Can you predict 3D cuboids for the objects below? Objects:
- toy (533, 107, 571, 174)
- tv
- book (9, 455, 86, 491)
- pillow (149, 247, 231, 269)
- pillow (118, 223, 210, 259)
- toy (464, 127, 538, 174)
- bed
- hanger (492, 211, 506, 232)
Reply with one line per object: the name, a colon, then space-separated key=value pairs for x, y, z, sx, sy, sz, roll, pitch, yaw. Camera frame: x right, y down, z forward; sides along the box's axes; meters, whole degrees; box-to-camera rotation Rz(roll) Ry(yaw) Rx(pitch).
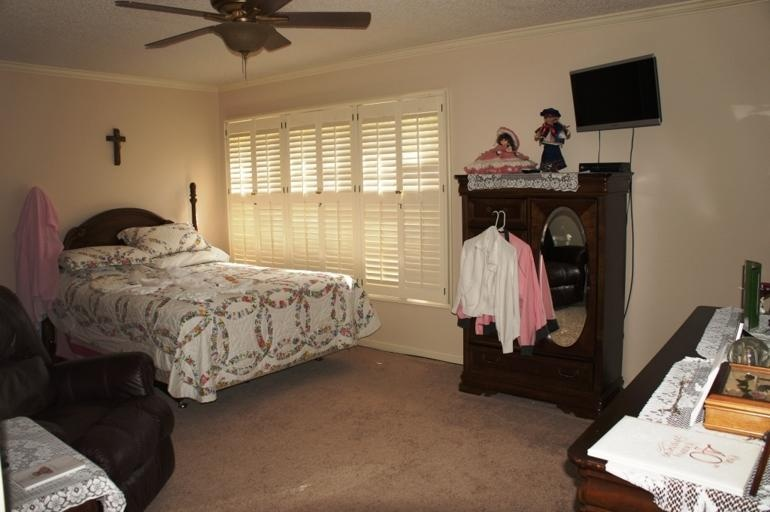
toy: x=1.384 y=-0.946 z=4.218 sx=0.273 sy=0.508 sz=0.324 roll=0 pitch=10 yaw=14
tv: x=1.861 y=-1.275 z=4.071 sx=0.704 sy=0.533 sz=0.091 roll=0 pitch=20 yaw=33
book: x=-1.673 y=1.060 z=2.554 sx=0.295 sy=0.052 sz=0.149 roll=-11 pitch=13 yaw=-42
pillow: x=-2.140 y=0.031 z=5.646 sx=0.462 sy=0.120 sz=0.292 roll=-11 pitch=18 yaw=-41
pillow: x=-2.516 y=-0.224 z=5.740 sx=0.566 sy=0.164 sz=0.515 roll=-10 pitch=29 yaw=-41
toy: x=0.971 y=-0.883 z=4.320 sx=0.451 sy=0.387 sz=0.415 roll=-8 pitch=11 yaw=-29
bed: x=-1.950 y=0.267 z=4.865 sx=2.489 sy=1.236 sz=1.841 roll=6 pitch=13 yaw=32
hanger: x=0.944 y=-0.286 z=4.223 sx=0.154 sy=0.173 sz=0.007 roll=14 pitch=24 yaw=41
